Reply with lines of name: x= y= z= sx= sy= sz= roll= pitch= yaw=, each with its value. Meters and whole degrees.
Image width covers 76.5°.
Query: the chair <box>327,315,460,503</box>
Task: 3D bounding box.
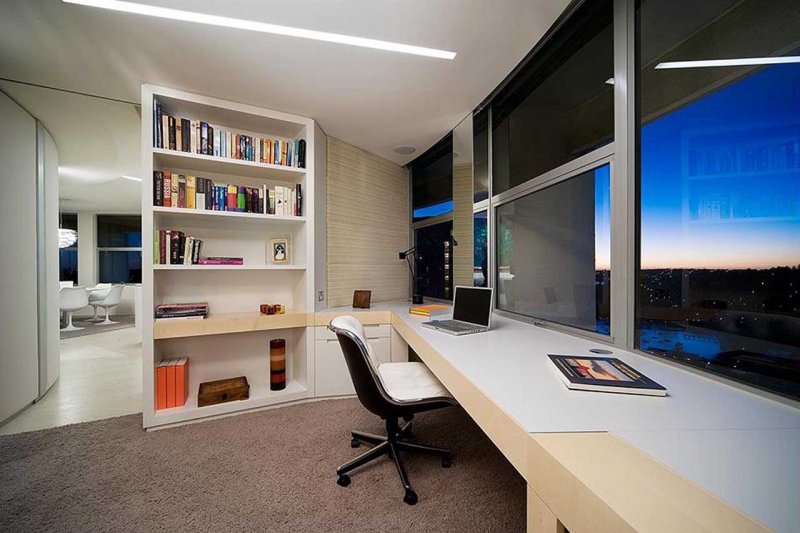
chair: x=-0.109 y=1.043 z=4.239 sx=1.139 sy=1.444 sz=1.210 roll=-2 pitch=-1 yaw=-9

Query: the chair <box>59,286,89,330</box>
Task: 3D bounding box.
chair: x=-5.202 y=0.638 z=8.102 sx=0.358 sy=0.632 sz=0.974 roll=-2 pitch=-1 yaw=-33

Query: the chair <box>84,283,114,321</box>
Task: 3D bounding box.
chair: x=-5.366 y=0.608 z=9.002 sx=0.536 sy=0.659 sz=0.543 roll=3 pitch=7 yaw=-26

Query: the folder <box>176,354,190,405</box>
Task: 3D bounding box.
folder: x=-1.984 y=1.018 z=4.554 sx=0.133 sy=0.365 sz=0.370 roll=0 pitch=4 yaw=-14

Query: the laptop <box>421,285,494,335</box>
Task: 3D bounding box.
laptop: x=0.502 y=0.348 z=4.052 sx=0.353 sy=0.329 sz=0.505 roll=3 pitch=-5 yaw=-24

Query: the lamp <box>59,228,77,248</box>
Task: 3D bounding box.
lamp: x=-5.894 y=-0.547 z=9.011 sx=0.262 sy=0.309 sz=0.986 roll=-2 pitch=-1 yaw=-32

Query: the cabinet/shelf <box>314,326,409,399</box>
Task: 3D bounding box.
cabinet/shelf: x=-0.364 y=0.809 z=5.108 sx=1.088 sy=0.942 sz=0.597 roll=0 pitch=1 yaw=-3

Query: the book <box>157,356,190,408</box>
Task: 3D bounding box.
book: x=-1.954 y=0.997 z=4.487 sx=0.314 sy=0.433 sz=0.431 roll=-1 pitch=0 yaw=-19

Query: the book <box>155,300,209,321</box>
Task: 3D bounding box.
book: x=-1.933 y=0.382 z=4.515 sx=0.440 sy=0.138 sz=0.271 roll=-2 pitch=-1 yaw=-22

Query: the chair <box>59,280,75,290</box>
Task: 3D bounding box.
chair: x=-5.430 y=0.297 z=8.249 sx=0.156 sy=0.109 sz=0.161 roll=-4 pitch=4 yaw=-20

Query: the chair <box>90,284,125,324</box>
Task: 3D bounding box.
chair: x=-5.210 y=0.604 z=8.945 sx=0.546 sy=0.701 sz=0.532 roll=5 pitch=-12 yaw=34
